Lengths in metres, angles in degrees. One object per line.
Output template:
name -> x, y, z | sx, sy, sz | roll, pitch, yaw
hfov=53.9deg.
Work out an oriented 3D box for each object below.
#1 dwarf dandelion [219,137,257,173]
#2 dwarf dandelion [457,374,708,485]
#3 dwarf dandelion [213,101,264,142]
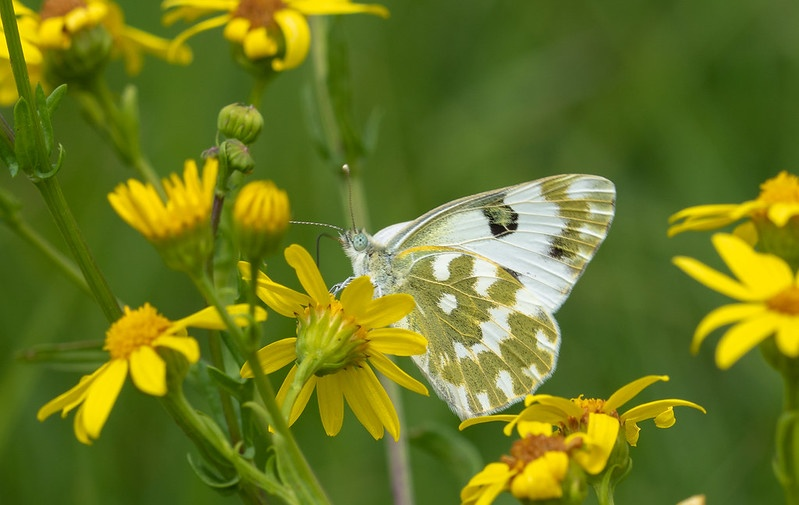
dwarf dandelion -> -0.594, -0.353, 2.865 | 0.125, 0.124, 0.104 | 6, -2, -16
dwarf dandelion -> 0.666, 0.556, 2.833 | 0.553, 0.225, 0.387 | -3, -8, -24
dwarf dandelion -> -0.599, -0.466, 2.946 | 0.124, 0.171, 0.151 | 10, -6, -41
